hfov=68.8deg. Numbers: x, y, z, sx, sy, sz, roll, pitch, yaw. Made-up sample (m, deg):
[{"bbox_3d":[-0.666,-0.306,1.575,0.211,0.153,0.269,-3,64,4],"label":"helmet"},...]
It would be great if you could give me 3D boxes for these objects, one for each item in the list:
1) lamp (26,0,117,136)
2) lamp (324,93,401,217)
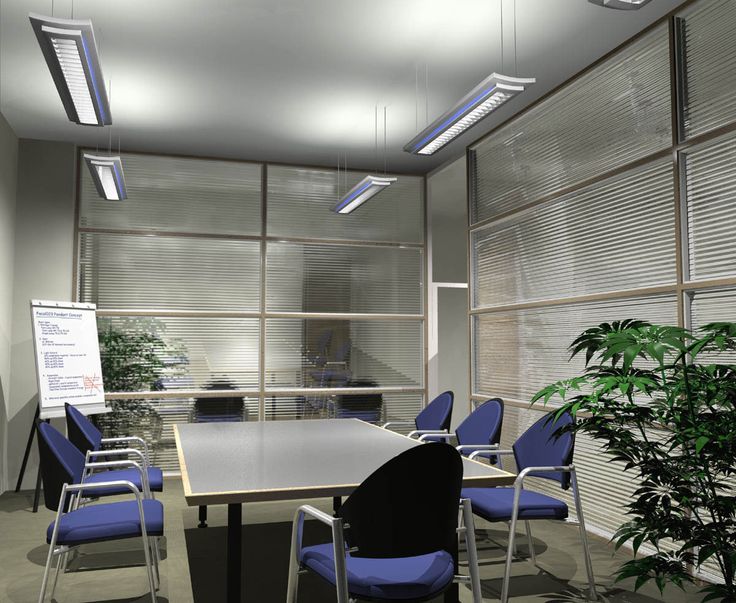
[{"bbox_3d":[-1.899,-1.532,3.437,0.214,0.058,0.864,1,-16,-7],"label":"lamp"},{"bbox_3d":[-0.125,-1.095,5.273,0.374,0.468,1.315,2,-11,-14],"label":"lamp"}]
